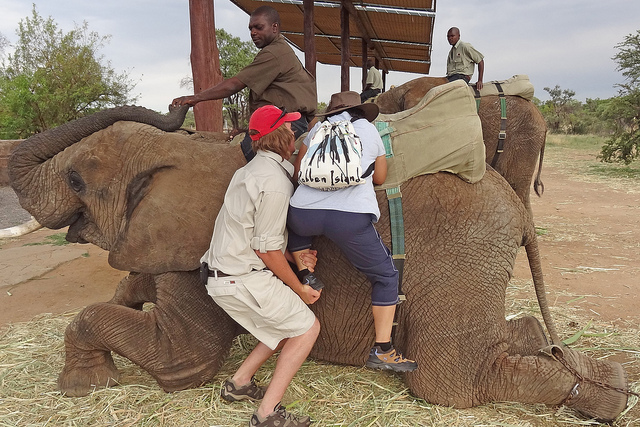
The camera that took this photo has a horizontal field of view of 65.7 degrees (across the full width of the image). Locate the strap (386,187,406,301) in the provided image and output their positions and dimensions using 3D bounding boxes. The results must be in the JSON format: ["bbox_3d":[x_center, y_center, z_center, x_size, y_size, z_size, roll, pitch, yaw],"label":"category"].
[{"bbox_3d":[0.624,0.268,4.247,0.112,0.979,0.165,-1,-6,2],"label":"strap"}]

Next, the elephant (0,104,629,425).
[{"bbox_3d":[-0.019,0.295,5.771,7.018,3.188,2.327,5,1,2],"label":"elephant"}]

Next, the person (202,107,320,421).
[{"bbox_3d":[-0.484,0.436,4.011,0.862,2.520,0.626,-8,13,-13],"label":"person"}]

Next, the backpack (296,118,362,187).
[{"bbox_3d":[0.106,-0.451,3.883,0.453,0.500,0.176,3,1,-1],"label":"backpack"}]
